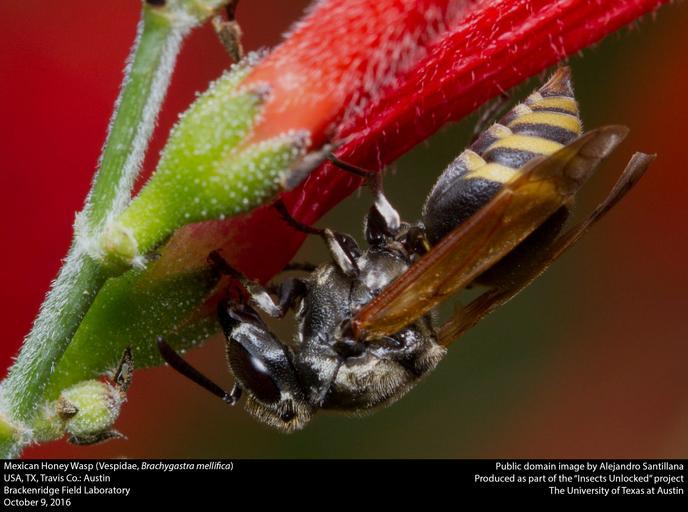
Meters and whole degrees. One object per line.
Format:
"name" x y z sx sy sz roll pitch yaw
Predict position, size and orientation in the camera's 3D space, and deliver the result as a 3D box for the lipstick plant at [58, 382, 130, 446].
"lipstick plant" -0.416 0.260 1.465 0.099 0.083 0.085 -2 55 -10
